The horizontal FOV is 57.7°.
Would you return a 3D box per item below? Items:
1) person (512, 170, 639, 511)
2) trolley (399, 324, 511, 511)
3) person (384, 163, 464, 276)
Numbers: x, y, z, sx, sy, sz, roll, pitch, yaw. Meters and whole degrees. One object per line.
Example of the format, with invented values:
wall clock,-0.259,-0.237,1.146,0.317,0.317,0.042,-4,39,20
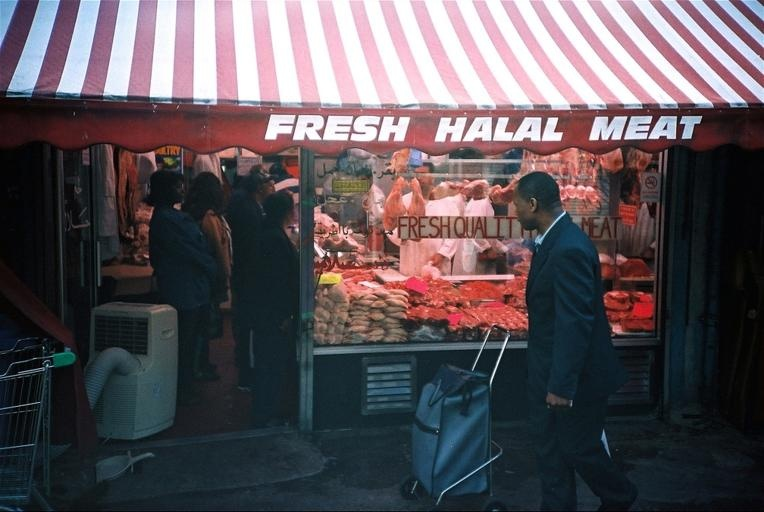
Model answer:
person,1.618,0.738,5.971,0.908,2.945,0.468,-1,1,12
trolley,0.741,1.552,6.681,1.050,1.677,0.737,-1,1,-16
person,0.483,-0.363,8.189,0.936,1.444,0.799,-17,24,-22
